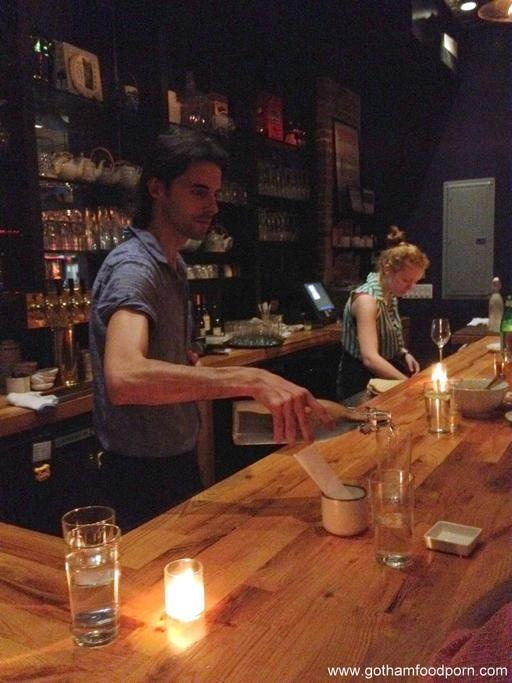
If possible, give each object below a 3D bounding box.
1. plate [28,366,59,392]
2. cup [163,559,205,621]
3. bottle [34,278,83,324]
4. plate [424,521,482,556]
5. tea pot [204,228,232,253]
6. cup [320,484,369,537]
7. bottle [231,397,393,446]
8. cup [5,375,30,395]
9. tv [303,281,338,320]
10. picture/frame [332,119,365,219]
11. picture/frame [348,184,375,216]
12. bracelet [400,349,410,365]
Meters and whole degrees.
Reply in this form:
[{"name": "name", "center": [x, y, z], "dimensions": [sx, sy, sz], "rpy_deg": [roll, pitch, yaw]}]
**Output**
[{"name": "plate", "center": [-0.917, 0.170, 2.507], "dimensions": [0.104, 0.070, 0.091], "rpy_deg": [-2, -1, 0]}, {"name": "cup", "center": [-0.091, 0.312, 0.720], "dimensions": [0.051, 0.085, 0.079], "rpy_deg": [-4, 7, -11]}, {"name": "bottle", "center": [-0.889, -0.178, 2.582], "dimensions": [0.045, 0.095, 0.218], "rpy_deg": [-7, 8, 20]}, {"name": "plate", "center": [0.313, 0.316, 0.924], "dimensions": [0.075, 0.023, 0.088], "rpy_deg": [1, 7, 33]}, {"name": "tea pot", "center": [-0.233, -0.706, 4.042], "dimensions": [0.136, 0.184, 0.230], "rpy_deg": [0, -1, 23]}, {"name": "cup", "center": [0.153, 0.292, 0.990], "dimensions": [0.081, 0.063, 0.080], "rpy_deg": [-1, 4, 0]}, {"name": "bottle", "center": [0.086, 0.146, 1.104], "dimensions": [0.285, 0.074, 0.070], "rpy_deg": [-7, 3, 9]}, {"name": "cup", "center": [-0.994, 0.184, 2.408], "dimensions": [0.080, 0.057, 0.081], "rpy_deg": [0, -2, 0]}, {"name": "tv", "center": [0.518, -0.323, 4.714], "dimensions": [0.179, 0.330, 0.330], "rpy_deg": [-37, -18, 20]}, {"name": "picture/frame", "center": [0.846, -1.675, 5.357], "dimensions": [0.094, 0.930, 0.849], "rpy_deg": [0, 16, 26]}, {"name": "picture/frame", "center": [0.983, -1.335, 5.433], "dimensions": [0.037, 0.282, 0.453], "rpy_deg": [-6, 1, 36]}, {"name": "bracelet", "center": [0.874, 0.088, 3.416], "dimensions": [0.034, 0.073, 0.057], "rpy_deg": [-10, -40, 7]}]
